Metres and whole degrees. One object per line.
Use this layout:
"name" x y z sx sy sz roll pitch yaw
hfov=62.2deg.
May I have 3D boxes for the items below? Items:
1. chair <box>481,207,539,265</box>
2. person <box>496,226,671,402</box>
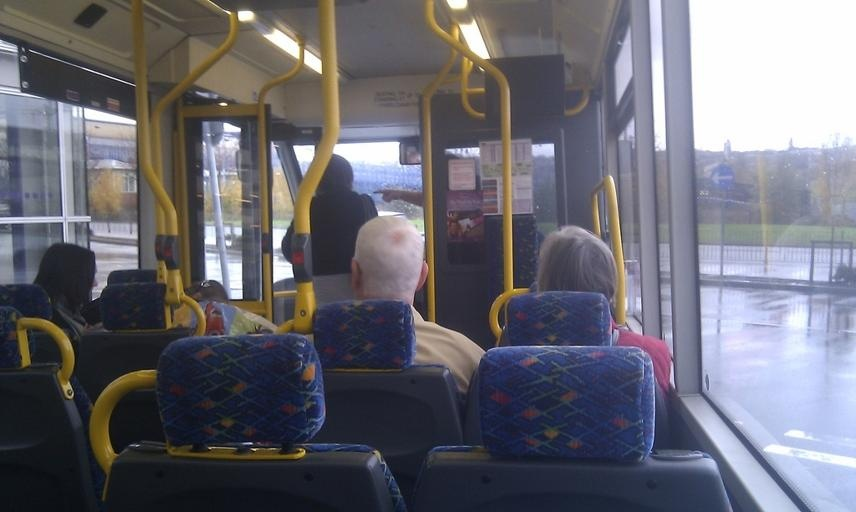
"chair" 0.666 -0.157 5.852 0.446 0.440 0.416 0 -4 -1
"person" 0.765 0.255 3.316 0.883 0.787 0.425 3 18 8
